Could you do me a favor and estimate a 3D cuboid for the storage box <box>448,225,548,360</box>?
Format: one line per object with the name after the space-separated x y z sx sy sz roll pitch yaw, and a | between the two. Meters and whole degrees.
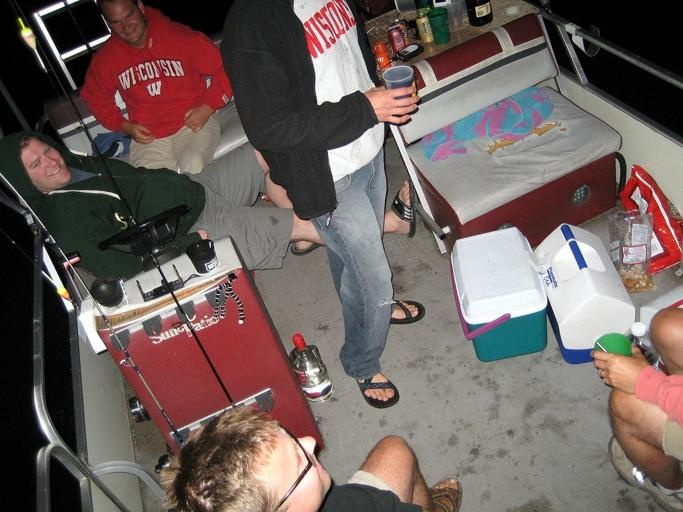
0.833 0.227 2.750 0.426 0.566 0.415 -11 39 6 | storage box

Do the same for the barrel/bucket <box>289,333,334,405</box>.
-0.176 0.649 2.944 0.164 0.436 0.171 -15 20 6 | barrel/bucket

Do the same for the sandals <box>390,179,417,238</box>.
0.420 -0.313 3.361 0.082 0.320 0.148 -23 44 -40 | sandals

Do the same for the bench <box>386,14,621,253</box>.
0.947 -0.704 3.010 1.106 0.693 1.078 -27 36 -3 | bench

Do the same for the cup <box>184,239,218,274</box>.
-0.573 0.009 2.133 0.111 0.129 0.135 -5 48 -3 | cup

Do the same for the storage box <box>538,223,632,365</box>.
1.215 0.221 2.577 0.366 0.423 0.667 -21 49 19 | storage box

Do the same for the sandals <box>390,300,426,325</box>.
0.412 0.349 3.128 0.245 0.069 0.115 -10 59 7 | sandals

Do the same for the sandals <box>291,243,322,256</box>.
-0.269 -0.048 3.707 0.169 0.047 0.093 -17 52 -6 | sandals

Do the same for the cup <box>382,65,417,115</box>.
0.258 -0.723 2.259 0.130 0.125 0.180 -10 58 9 | cup
